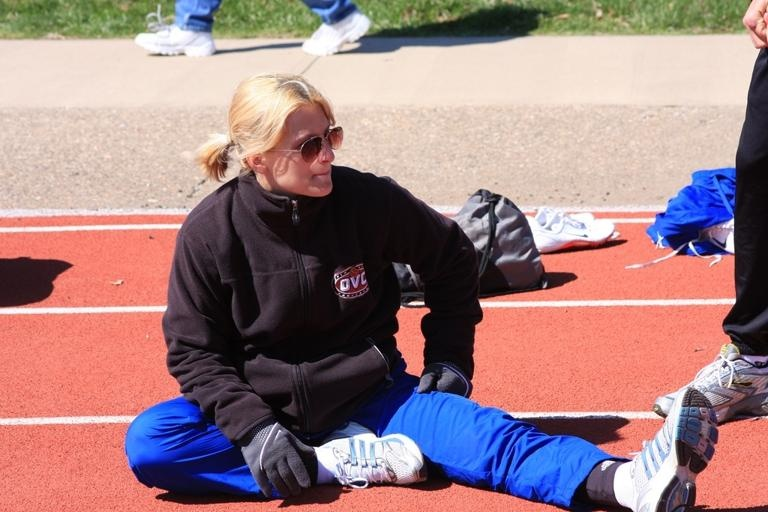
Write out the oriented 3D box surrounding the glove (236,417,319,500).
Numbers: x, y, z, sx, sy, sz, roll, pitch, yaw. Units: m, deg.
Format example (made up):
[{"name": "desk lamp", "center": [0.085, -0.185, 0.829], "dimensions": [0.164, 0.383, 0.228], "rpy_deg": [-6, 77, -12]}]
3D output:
[{"name": "glove", "center": [-0.703, 1.354, 7.358], "dimensions": [0.500, 0.497, 0.167], "rpy_deg": [-5, 17, -9]}]
